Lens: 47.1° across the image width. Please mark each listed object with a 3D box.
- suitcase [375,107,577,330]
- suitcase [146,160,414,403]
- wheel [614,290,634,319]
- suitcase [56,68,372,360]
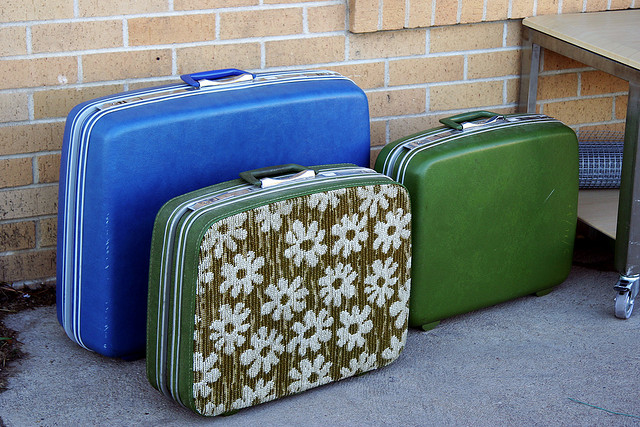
[{"bbox_3d":[0.540,0.008,2.508,0.708,0.617,0.236,-14,21,-25],"label":"suitcase"},{"bbox_3d":[0.047,0.237,2.197,0.797,0.644,0.274,-19,-23,30],"label":"suitcase"},{"bbox_3d":[1.018,0.307,2.466,0.037,0.083,0.089,5,14,41],"label":"wheel"},{"bbox_3d":[-0.355,-0.035,2.539,1.048,0.866,0.367,-18,30,-39],"label":"suitcase"}]
